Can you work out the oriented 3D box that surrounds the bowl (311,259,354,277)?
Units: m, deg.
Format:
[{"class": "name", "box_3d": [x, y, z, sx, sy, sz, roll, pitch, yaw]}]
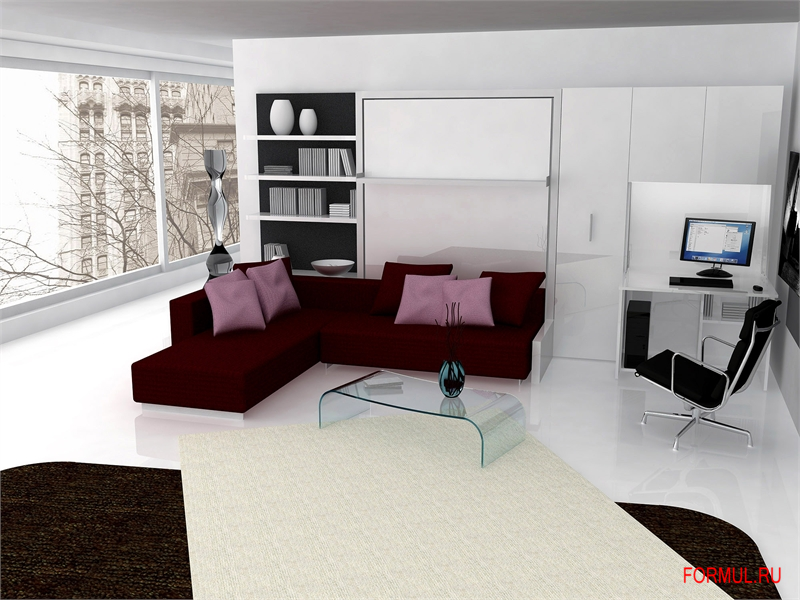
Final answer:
[{"class": "bowl", "box_3d": [-0.774, -0.373, 6.695, 0.479, 0.160, 0.431, -1, 14, -6]}]

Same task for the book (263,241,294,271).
[{"class": "book", "box_3d": [-1.394, -0.511, 6.641, 0.230, 0.392, 0.289, -8, 16, 11]}]

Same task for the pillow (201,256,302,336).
[{"class": "pillow", "box_3d": [-1.447, -0.046, 5.575, 0.252, 0.608, 0.986, -25, -7, 32]}]

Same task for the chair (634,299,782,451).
[{"class": "chair", "box_3d": [2.295, 0.515, 4.400, 0.854, 1.032, 0.793, 9, 15, 40]}]

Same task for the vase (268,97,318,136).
[{"class": "vase", "box_3d": [-1.234, -2.136, 6.685, 0.464, 0.301, 0.160, 4, 14, 11]}]

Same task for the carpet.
[{"class": "carpet", "box_3d": [-0.352, 1.264, 3.338, 4.533, 0.079, 1.430, 0, 14, -2]}]

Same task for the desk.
[{"class": "desk", "box_3d": [2.946, 0.306, 5.798, 1.283, 0.870, 0.690, 3, 10, 31]}]

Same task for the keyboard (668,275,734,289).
[{"class": "keyboard", "box_3d": [2.708, -0.162, 5.233, 0.546, 0.055, 0.261, 3, 14, 12]}]

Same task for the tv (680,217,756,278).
[{"class": "tv", "box_3d": [3.005, -0.514, 5.457, 0.530, 0.443, 0.223, 5, 14, 19]}]
